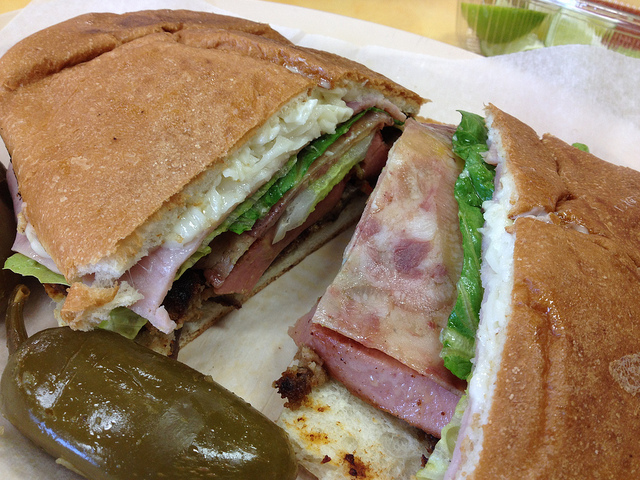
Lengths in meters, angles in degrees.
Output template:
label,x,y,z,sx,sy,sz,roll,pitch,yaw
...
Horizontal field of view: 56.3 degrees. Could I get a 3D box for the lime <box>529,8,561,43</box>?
label,x,y,z,sx,sy,sz,roll,pitch,yaw
lime,1.714,-1.643,4.532,0.180,0.171,0.184,-24,19,-39

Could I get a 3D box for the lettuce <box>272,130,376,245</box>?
label,x,y,z,sx,sy,sz,roll,pitch,yaw
lettuce,0.036,-0.313,3.428,0.529,0.569,0.555,22,33,33
